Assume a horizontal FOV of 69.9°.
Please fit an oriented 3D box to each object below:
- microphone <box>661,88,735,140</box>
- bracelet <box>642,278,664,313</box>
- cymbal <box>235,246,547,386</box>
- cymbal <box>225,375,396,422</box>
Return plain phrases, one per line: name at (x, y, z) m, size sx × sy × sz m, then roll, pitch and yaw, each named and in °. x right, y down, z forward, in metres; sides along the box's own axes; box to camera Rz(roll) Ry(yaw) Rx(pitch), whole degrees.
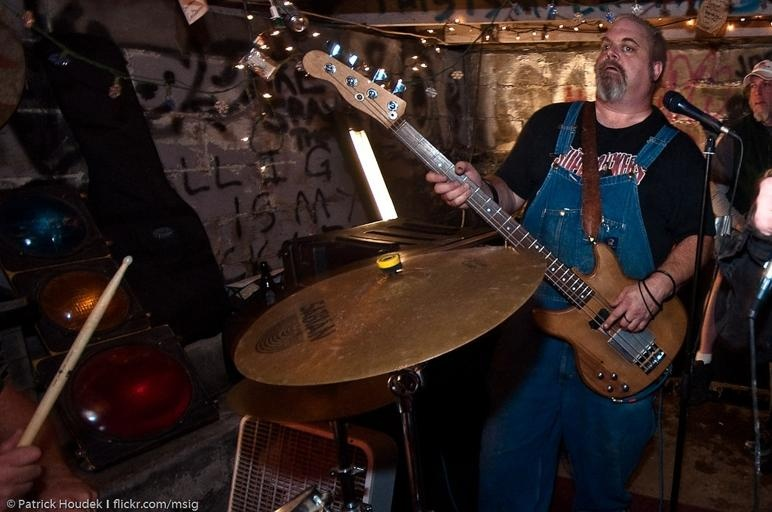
microphone at (1.695, -0.776, 3.012) m, size 0.336 × 0.235 × 0.227 m, roll 5°, pitch 24°, yaw 27°
bracelet at (1.458, 0.223, 3.034) m, size 0.149 × 0.175 × 0.048 m, roll 1°, pitch 1°, yaw -23°
cymbal at (0.050, 0.275, 2.440) m, size 0.946 × 0.198 × 0.892 m, roll -20°, pitch 19°, yaw -6°
cymbal at (-0.563, 0.757, 3.010) m, size 0.722 × 0.148 × 0.720 m, roll 11°, pitch -9°, yaw -25°
